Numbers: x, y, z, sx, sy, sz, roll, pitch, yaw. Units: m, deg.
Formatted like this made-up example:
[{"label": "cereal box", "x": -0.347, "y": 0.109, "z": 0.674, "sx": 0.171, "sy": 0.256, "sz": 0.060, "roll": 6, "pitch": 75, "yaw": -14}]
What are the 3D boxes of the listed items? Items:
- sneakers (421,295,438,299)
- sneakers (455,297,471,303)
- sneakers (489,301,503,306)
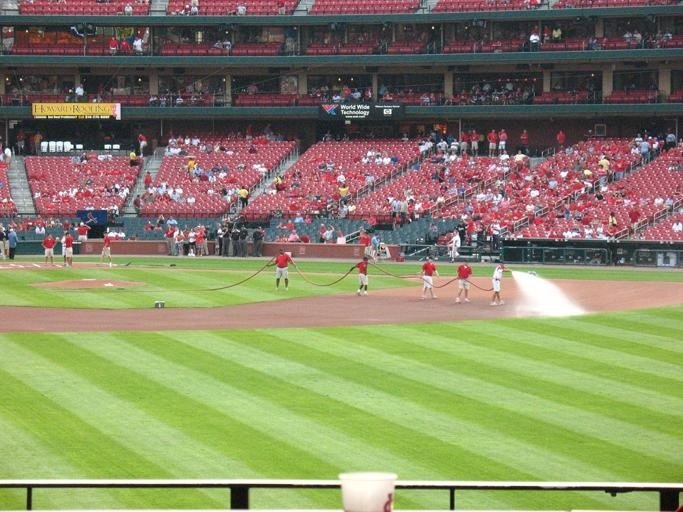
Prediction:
[{"label": "sneakers", "x": 3.853, "y": 1.883, "z": 67.188, "sx": 0.637, "sy": 0.234, "sz": 0.197, "roll": 0, "pitch": 6, "yaw": 3}, {"label": "sneakers", "x": 5.213, "y": 1.970, "z": 65.988, "sx": 0.668, "sy": 0.250, "sz": 0.208, "roll": -1, "pitch": 6, "yaw": -7}, {"label": "sneakers", "x": 6.543, "y": 2.067, "z": 64.949, "sx": 0.530, "sy": 0.192, "sz": 0.169, "roll": -4, "pitch": 2, "yaw": 11}]
